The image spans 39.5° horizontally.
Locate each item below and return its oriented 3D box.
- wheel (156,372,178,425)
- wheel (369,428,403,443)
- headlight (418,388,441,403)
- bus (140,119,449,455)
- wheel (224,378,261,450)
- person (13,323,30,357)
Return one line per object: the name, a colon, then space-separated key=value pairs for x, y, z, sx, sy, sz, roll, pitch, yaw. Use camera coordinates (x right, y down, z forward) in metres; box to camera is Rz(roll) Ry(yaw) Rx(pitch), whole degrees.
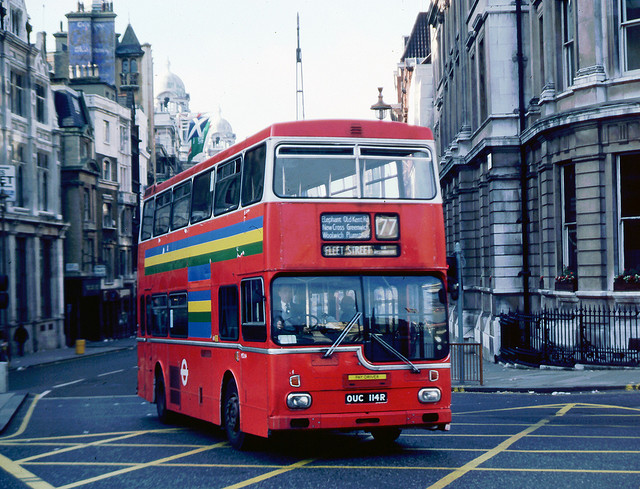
wheel: x=-3.652 y=3.750 z=21.626 sx=0.357 sy=1.321 sz=1.143 roll=1 pitch=-4 yaw=-25
wheel: x=1.324 y=3.846 z=17.975 sx=0.541 sy=0.344 sz=1.083 roll=-3 pitch=-6 yaw=4
headlight: x=2.051 y=2.845 z=16.810 sx=0.455 sy=0.274 sz=0.076 roll=0 pitch=-5 yaw=-23
bus: x=-0.399 y=1.052 z=17.598 sx=2.367 sy=3.772 sz=6.475 roll=0 pitch=-3 yaw=-22
wheel: x=-1.533 y=3.408 z=18.007 sx=0.610 sy=1.422 sz=0.935 roll=0 pitch=-5 yaw=-17
person: x=-15.237 y=4.906 z=45.711 sx=0.660 sy=1.692 sz=1.778 roll=0 pitch=-6 yaw=-20
